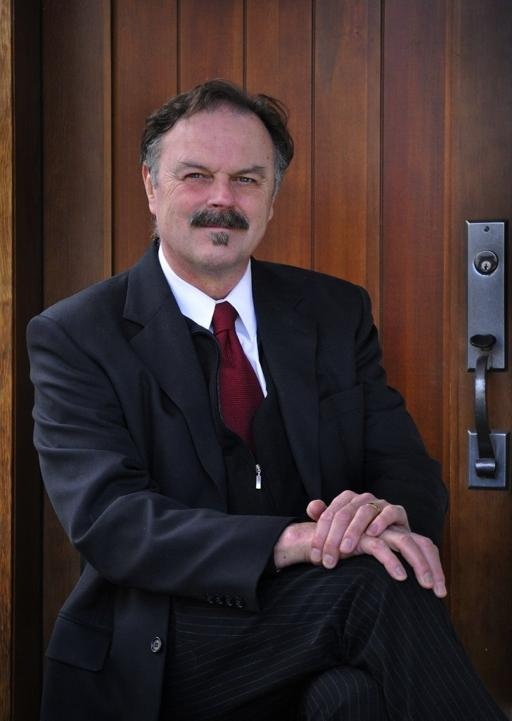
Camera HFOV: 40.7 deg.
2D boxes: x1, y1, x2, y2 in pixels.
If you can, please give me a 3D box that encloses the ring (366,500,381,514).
[{"bbox_3d":[0.190,0.233,1.101,0.015,0.021,0.009,3,5,23],"label":"ring"}]
